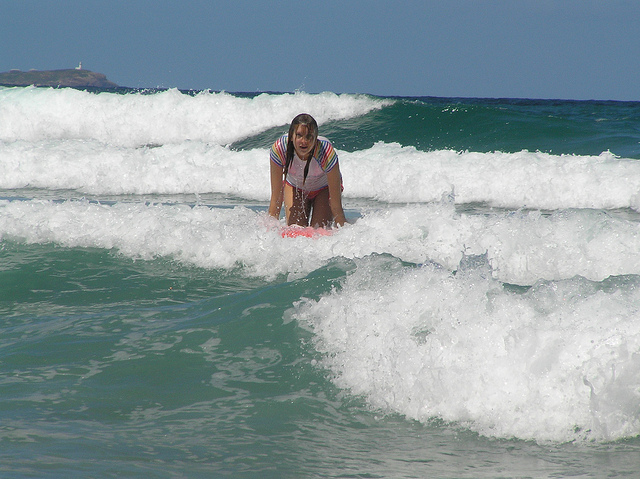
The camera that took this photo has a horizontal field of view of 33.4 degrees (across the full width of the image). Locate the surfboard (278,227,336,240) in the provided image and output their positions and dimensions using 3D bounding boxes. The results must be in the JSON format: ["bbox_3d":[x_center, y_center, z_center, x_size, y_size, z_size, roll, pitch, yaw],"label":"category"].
[{"bbox_3d":[-0.119,-0.075,10.753,0.564,0.070,0.280,5,22,6],"label":"surfboard"}]

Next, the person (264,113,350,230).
[{"bbox_3d":[-0.089,-0.697,11.136,0.830,1.353,0.614,3,25,0],"label":"person"}]
